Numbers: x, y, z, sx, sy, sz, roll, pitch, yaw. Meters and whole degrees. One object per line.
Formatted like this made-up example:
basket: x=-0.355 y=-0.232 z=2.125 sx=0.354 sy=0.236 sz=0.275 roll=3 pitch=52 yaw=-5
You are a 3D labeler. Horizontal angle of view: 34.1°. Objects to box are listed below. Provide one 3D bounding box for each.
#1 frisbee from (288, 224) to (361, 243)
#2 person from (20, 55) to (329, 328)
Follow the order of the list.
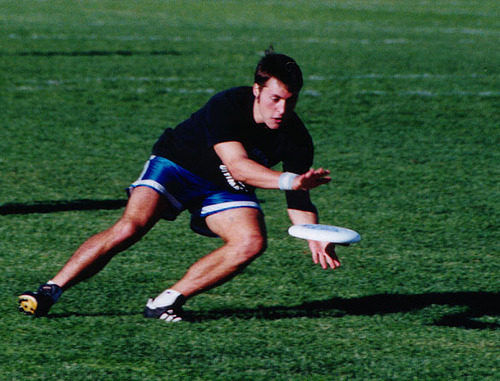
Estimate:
frisbee: x=0.585 y=0.338 z=6.436 sx=0.560 sy=0.118 sz=0.288 roll=2 pitch=16 yaw=1
person: x=-0.362 y=-0.017 z=6.346 sx=1.513 sy=2.082 sz=1.292 roll=12 pitch=24 yaw=17
